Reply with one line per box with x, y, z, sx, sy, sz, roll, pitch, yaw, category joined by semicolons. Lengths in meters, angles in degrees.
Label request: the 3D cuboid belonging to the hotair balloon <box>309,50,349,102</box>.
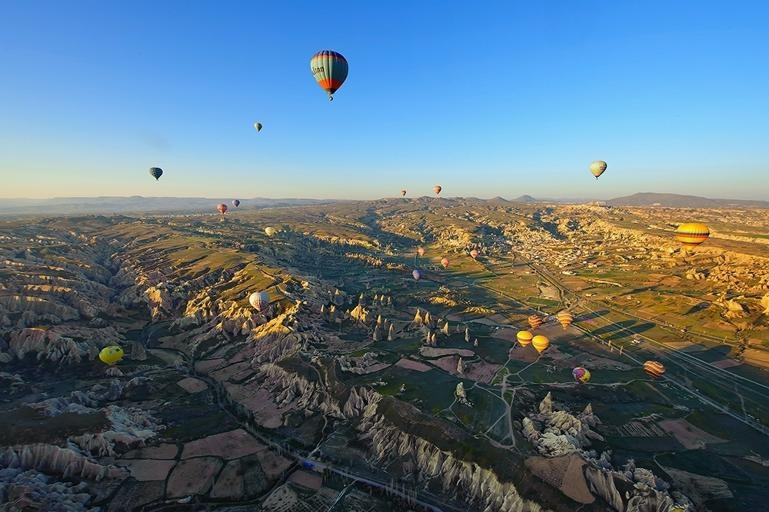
-11.658;-36.857;90.786;7.894;7.411;6.556;-6;5;-5;hotair balloon
